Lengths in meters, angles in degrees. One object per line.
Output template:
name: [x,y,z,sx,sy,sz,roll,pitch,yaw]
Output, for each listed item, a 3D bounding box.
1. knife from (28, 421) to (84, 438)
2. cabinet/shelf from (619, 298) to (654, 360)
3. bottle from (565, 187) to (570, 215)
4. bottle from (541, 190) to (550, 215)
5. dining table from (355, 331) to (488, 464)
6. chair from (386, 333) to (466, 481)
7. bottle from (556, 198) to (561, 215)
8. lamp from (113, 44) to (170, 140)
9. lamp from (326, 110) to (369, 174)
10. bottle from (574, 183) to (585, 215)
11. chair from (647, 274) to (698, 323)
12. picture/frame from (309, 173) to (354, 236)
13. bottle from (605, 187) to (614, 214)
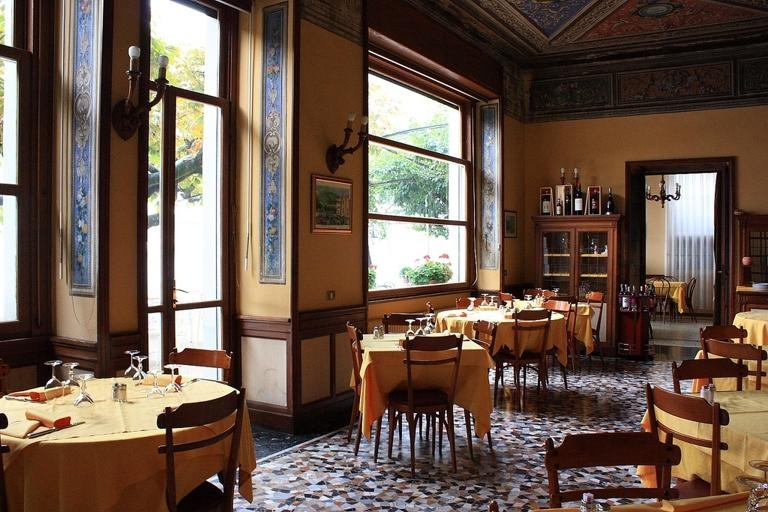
knife: [-2.128,1.130,3.765,0.238,0.026,0.046,-7,11,-30]
cabinet/shelf: [4.052,1.152,9.428,0.483,1.046,0.317,3,6,24]
bottle: [3.247,-0.988,10.277,0.116,0.489,0.064,1,6,8]
bottle: [2.909,-0.982,10.467,0.187,0.472,0.268,2,6,13]
dining table: [0.386,1.389,5.749,1.048,0.660,1.081,-1,-3,1]
chair: [0.386,1.324,5.570,0.698,1.250,0.878,-2,6,-23]
bottle: [3.079,-0.861,10.258,0.086,0.263,0.173,0,6,-4]
lamp: [-2.154,-1.468,5.390,0.503,0.803,0.497,5,13,5]
lamp: [-0.423,-1.301,6.696,0.324,0.630,0.343,12,9,37]
bottle: [3.425,-1.010,10.226,0.175,0.540,0.279,2,6,19]
chair: [6.924,0.947,13.969,1.392,0.771,1.421,0,1,42]
picture/frame: [-0.626,-0.591,6.644,0.046,0.675,0.708,-3,-4,36]
bottle: [3.925,-0.974,10.121,0.122,0.433,0.232,2,6,18]
